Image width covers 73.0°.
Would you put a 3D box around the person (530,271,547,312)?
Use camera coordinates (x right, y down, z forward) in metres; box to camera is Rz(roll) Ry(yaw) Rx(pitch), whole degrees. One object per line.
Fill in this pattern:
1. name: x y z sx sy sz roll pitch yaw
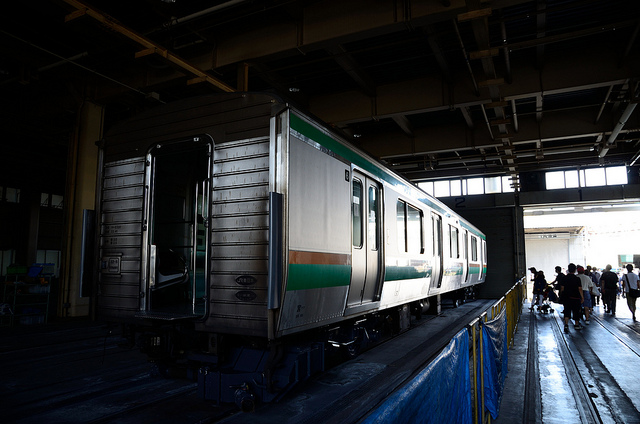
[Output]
1. person: 9.222 3.346 18.143 0.453 1.469 0.770 -1 -4 40

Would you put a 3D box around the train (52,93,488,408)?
1. train: -0.733 0.637 8.515 6.673 5.033 3.205 4 -4 -34
